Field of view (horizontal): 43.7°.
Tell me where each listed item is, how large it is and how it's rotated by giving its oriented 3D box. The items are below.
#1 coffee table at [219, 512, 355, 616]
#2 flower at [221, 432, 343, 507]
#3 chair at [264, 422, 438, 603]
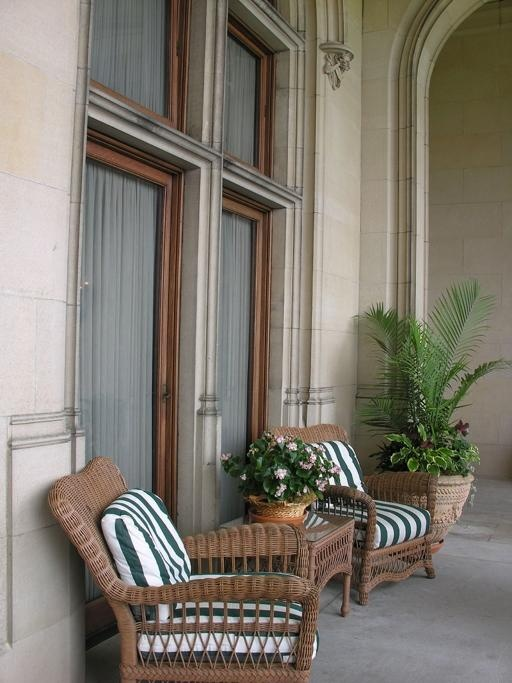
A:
[{"bbox_3d":[0.185,0.887,2.993,0.548,0.579,0.566,-4,-8,40],"label":"coffee table"},{"bbox_3d":[0.118,0.581,2.910,0.357,0.239,0.359,0,1,14],"label":"flower"},{"bbox_3d":[0.563,0.918,3.753,0.782,0.998,0.868,6,-9,-43],"label":"chair"}]
